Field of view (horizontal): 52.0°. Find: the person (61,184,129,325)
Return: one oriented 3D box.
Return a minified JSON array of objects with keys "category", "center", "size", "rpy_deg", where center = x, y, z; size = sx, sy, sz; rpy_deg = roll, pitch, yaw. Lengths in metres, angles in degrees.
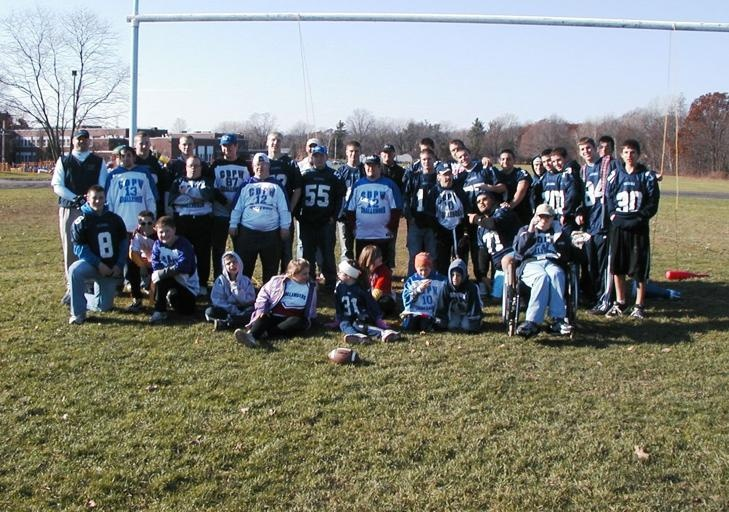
[{"category":"person","center":[-3.966,-0.069,10.917],"size":[0.680,1.836,1.017],"rpy_deg":[7,12,34]}]

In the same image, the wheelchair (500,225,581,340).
[{"category":"wheelchair","center":[2.407,0.264,10.469],"size":[0.809,1.723,0.884],"rpy_deg":[0,2,-6]}]

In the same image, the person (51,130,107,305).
[{"category":"person","center":[-4.632,-0.549,11.935],"size":[0.821,2.719,0.972],"rpy_deg":[2,18,-3]}]
